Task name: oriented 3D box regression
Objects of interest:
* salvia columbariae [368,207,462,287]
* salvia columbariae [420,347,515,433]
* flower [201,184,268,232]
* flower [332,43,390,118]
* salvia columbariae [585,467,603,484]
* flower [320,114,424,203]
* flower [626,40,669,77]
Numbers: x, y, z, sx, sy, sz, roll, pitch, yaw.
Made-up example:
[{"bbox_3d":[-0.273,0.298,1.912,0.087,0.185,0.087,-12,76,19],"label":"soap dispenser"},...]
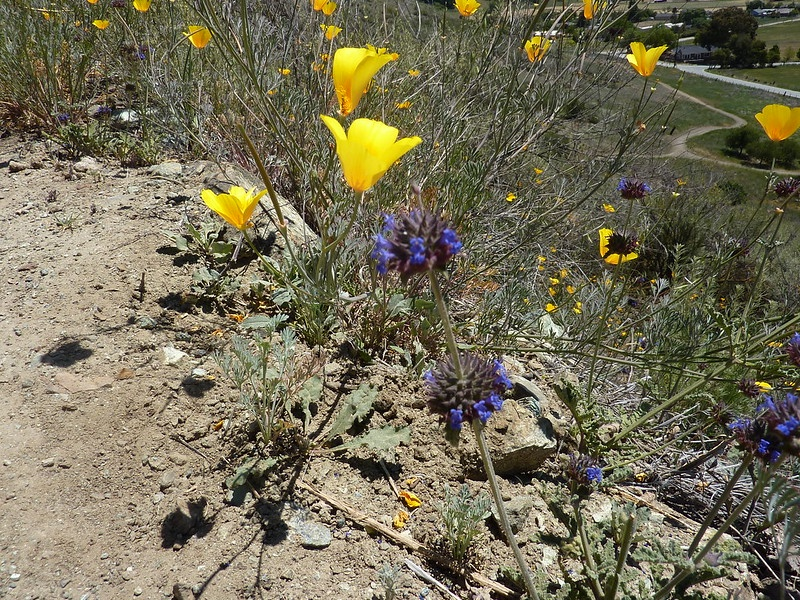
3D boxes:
[{"bbox_3d":[0.087,-0.184,2.418,0.292,0.194,0.307,4,51,41],"label":"salvia columbariae"},{"bbox_3d":[0.313,0.451,2.690,0.335,0.292,0.347,8,38,32],"label":"salvia columbariae"},{"bbox_3d":[-0.884,-0.460,3.221,0.342,0.351,0.188,-28,84,-24],"label":"flower"},{"bbox_3d":[-0.204,-1.129,3.028,0.262,0.289,0.245,26,15,35],"label":"flower"},{"bbox_3d":[0.974,0.899,3.011,0.085,0.044,0.070,28,51,29],"label":"salvia columbariae"},{"bbox_3d":[-0.159,-0.640,2.826,0.378,0.354,0.466,8,10,-35],"label":"flower"},{"bbox_3d":[1.590,-1.559,3.875,0.247,0.220,0.257,-1,4,9],"label":"flower"}]
